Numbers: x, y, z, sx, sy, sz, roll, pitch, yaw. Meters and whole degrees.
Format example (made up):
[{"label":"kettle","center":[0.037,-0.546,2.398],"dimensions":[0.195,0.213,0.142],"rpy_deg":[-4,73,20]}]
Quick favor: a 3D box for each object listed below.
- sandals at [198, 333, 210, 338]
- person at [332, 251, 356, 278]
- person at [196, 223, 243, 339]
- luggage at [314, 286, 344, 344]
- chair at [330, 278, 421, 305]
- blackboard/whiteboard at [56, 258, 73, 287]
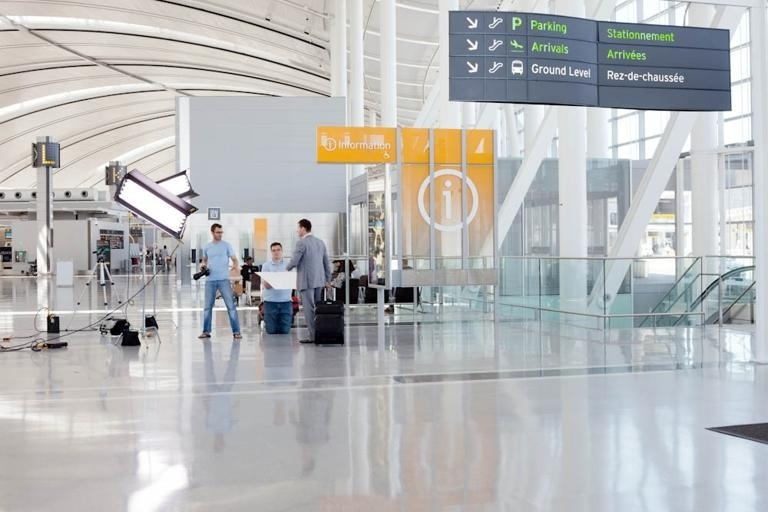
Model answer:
[{"label":"sandals","center":[-3.690,1.627,13.687],"dimensions":[0.161,0.067,0.089],"rpy_deg":[10,-12,-38]},{"label":"person","center":[-1.037,0.240,16.243],"dimensions":[0.492,0.922,0.941],"rpy_deg":[0,0,-18]},{"label":"person","center":[-3.399,0.513,13.751],"dimensions":[0.797,2.309,1.337],"rpy_deg":[0,0,-15]},{"label":"luggage","center":[-1.075,1.267,13.130],"dimensions":[0.625,0.866,0.524],"rpy_deg":[1,1,5]},{"label":"chair","center":[-0.310,0.714,15.572],"dimensions":[1.843,0.648,0.758],"rpy_deg":[0,-11,4]},{"label":"blackboard/whiteboard","center":[-14.368,0.796,29.993],"dimensions":[0.771,1.509,0.772],"rpy_deg":[-6,11,-37]}]
